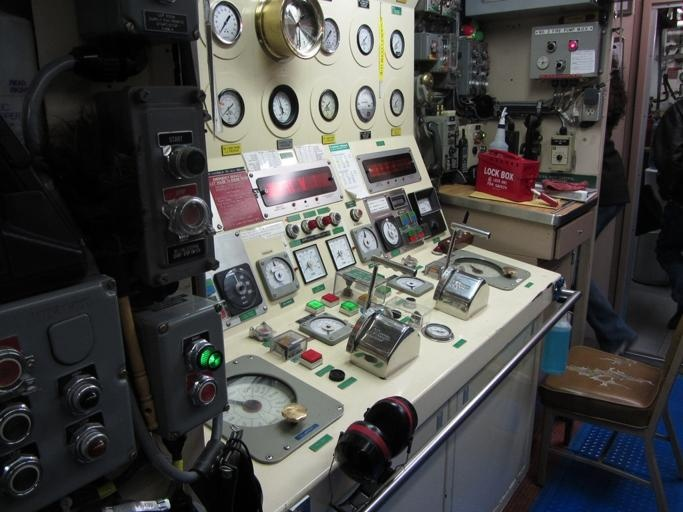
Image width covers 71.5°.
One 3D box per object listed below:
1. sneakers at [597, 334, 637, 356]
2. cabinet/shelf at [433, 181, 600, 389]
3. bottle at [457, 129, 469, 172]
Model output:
[{"bbox_3d":[2.219,0.724,3.807,0.198,0.225,0.070,-2,-3,8],"label":"sneakers"},{"bbox_3d":[1.381,0.000,3.664,0.939,1.638,1.005,9,21,24],"label":"cabinet/shelf"},{"bbox_3d":[0.876,-0.743,3.407,0.066,0.316,0.204,-1,21,16],"label":"bottle"}]
